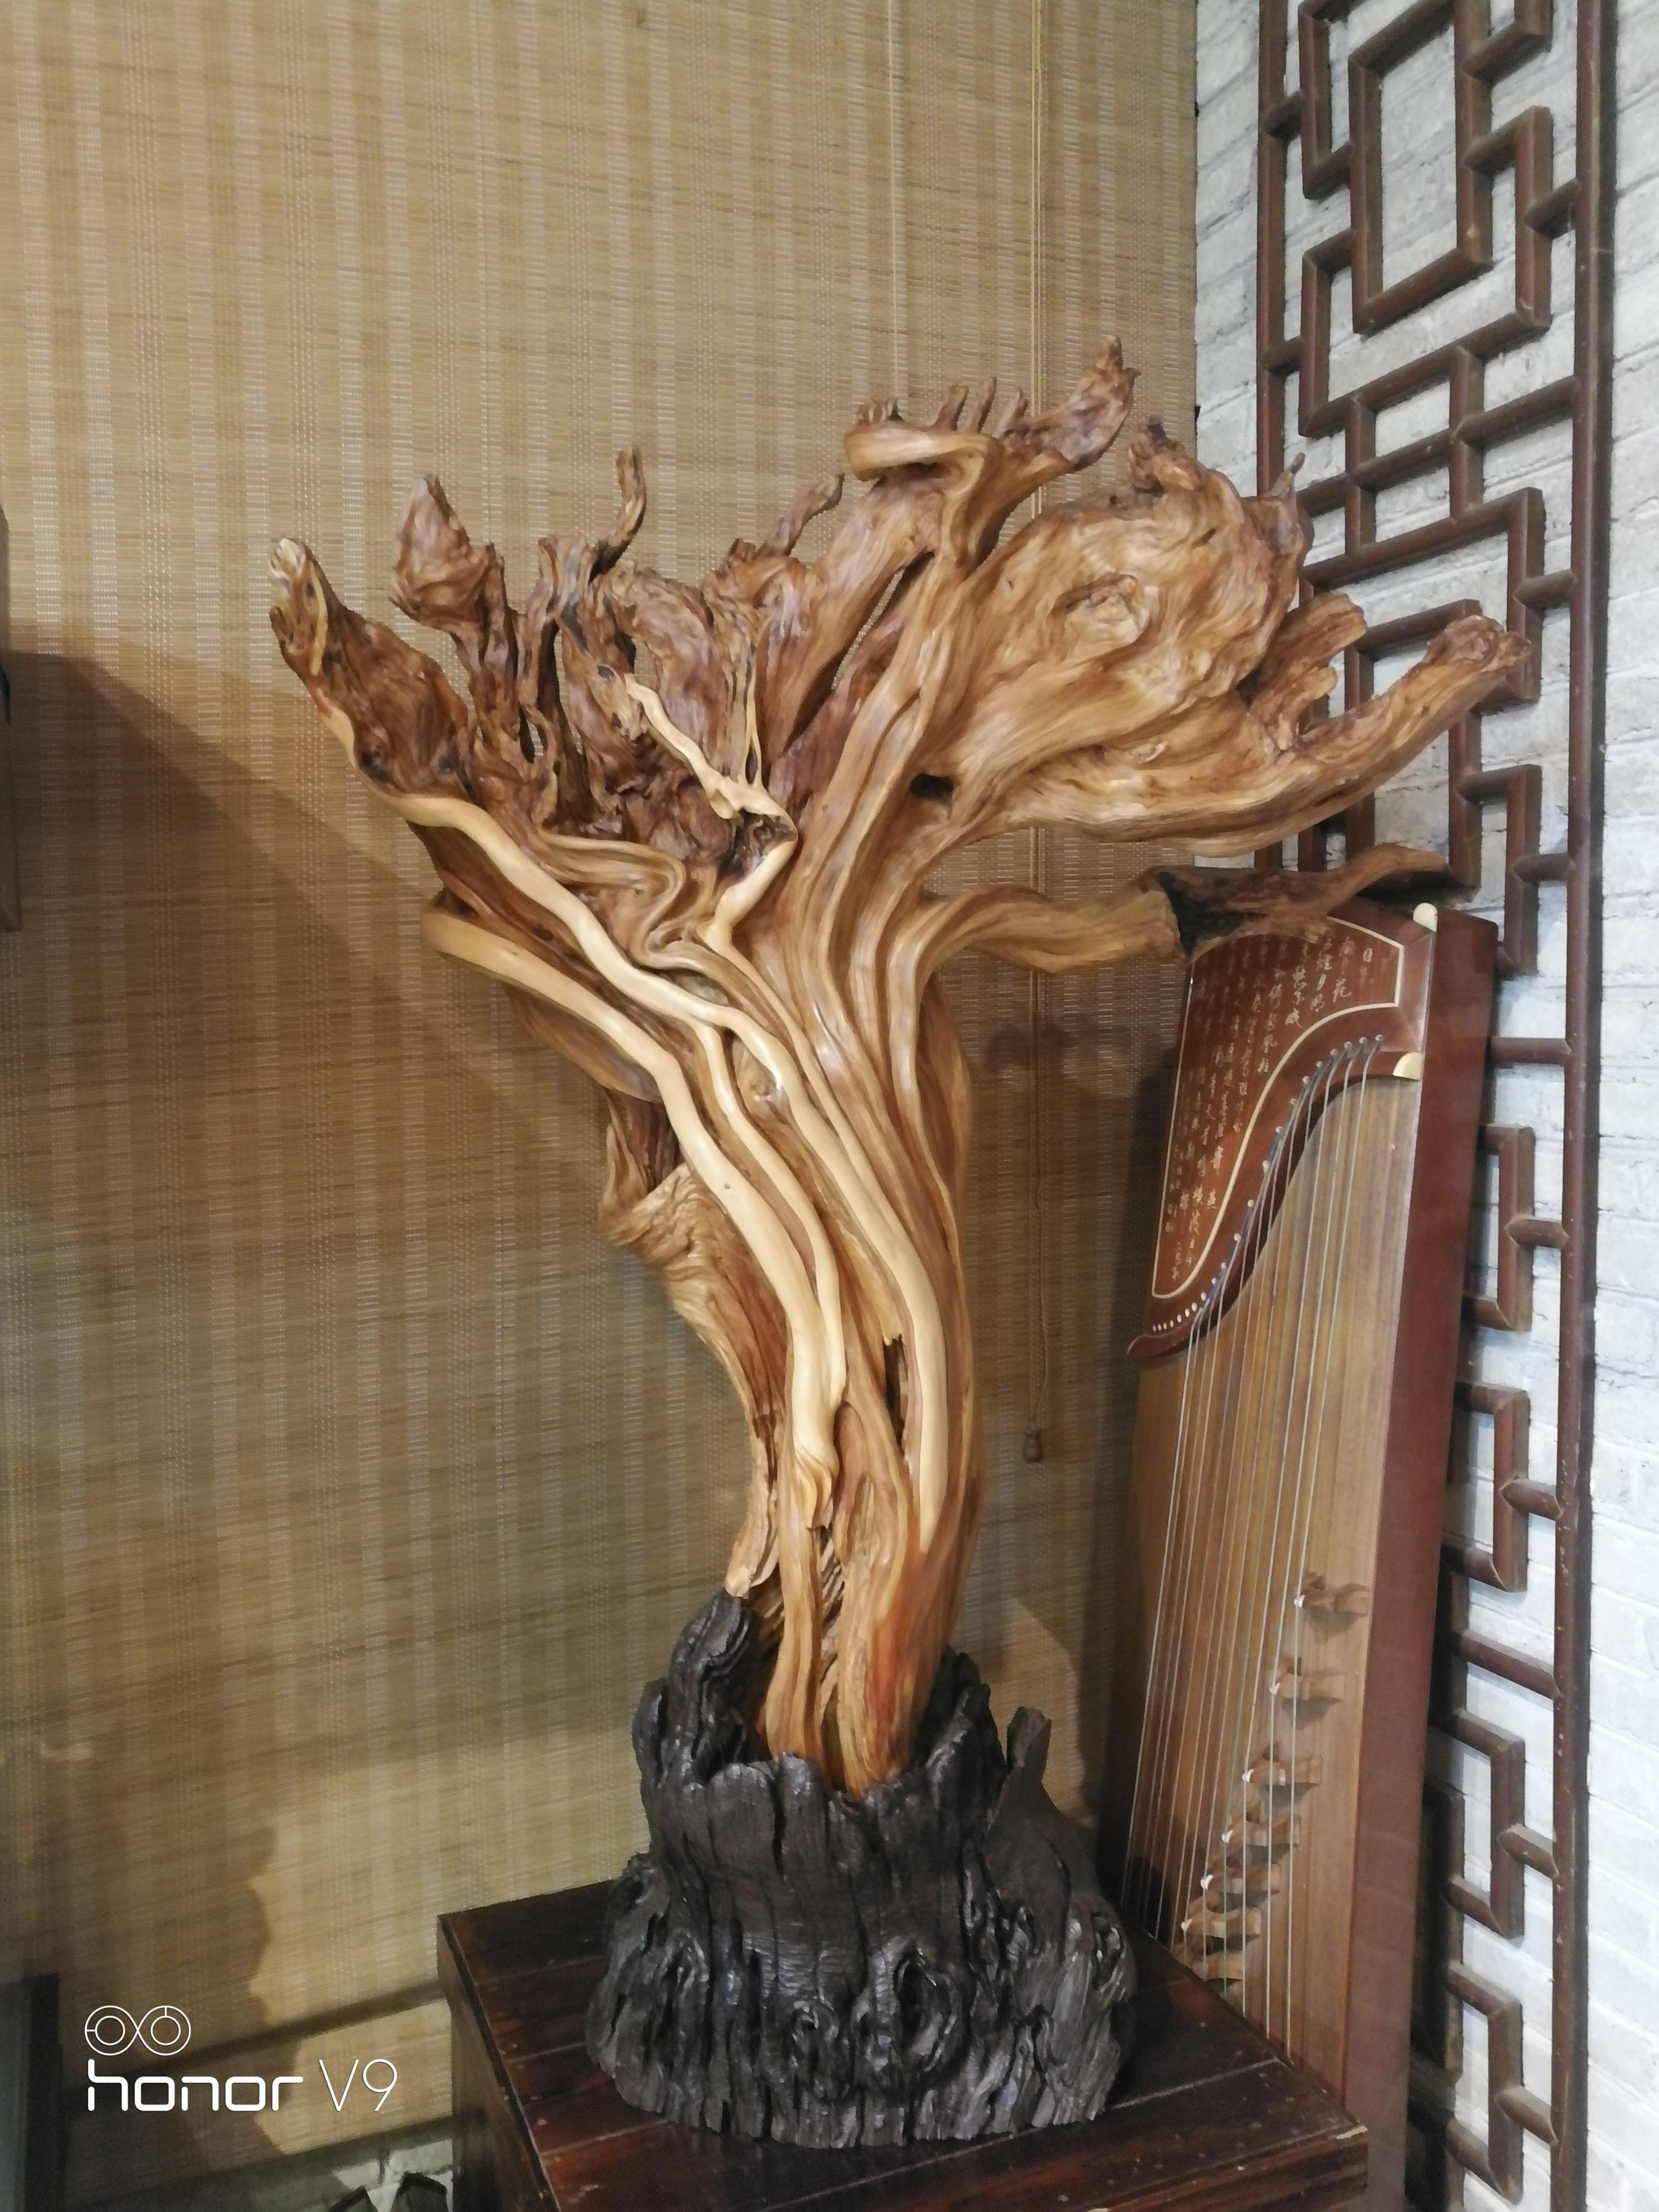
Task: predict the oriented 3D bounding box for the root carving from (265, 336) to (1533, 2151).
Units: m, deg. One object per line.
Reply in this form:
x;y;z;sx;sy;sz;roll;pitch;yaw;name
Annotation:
0.040;0.106;1.904;0.937;1.399;0.405;-2;10;-12;root carving
